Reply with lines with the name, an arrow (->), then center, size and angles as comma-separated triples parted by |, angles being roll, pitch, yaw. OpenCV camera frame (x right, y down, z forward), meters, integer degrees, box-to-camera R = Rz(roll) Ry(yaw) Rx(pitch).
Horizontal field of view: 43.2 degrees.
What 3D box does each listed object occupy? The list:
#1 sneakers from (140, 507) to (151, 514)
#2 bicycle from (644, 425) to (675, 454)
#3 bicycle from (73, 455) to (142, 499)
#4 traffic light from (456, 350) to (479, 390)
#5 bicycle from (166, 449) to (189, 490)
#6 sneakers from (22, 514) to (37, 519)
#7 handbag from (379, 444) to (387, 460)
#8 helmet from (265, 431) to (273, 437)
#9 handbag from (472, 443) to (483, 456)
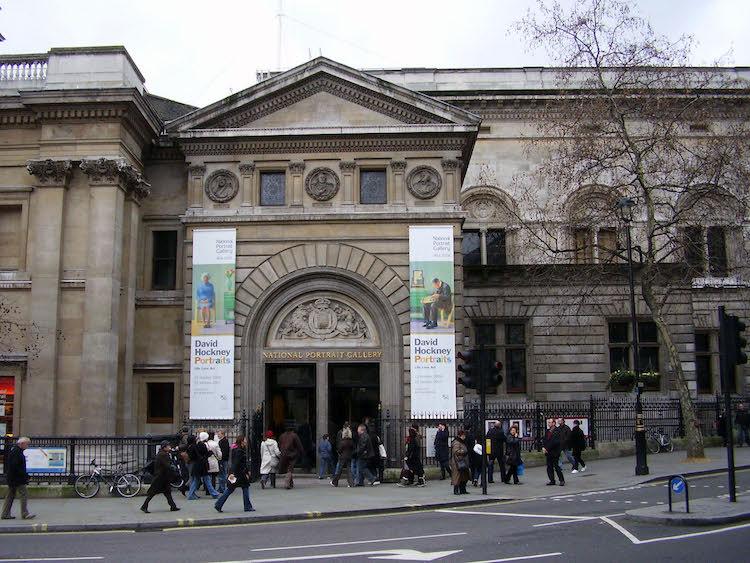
sneakers -> -7.256, 7.245, 30.005 | 0.349, 0.274, 0.127 | 0, -4, 1
bicycle -> 12.692, 7.116, 42.216 | 1.436, 1.007, 0.737 | 14, -39, -33
bicycle -> -9.512, 6.993, 33.965 | 2.135, 1.413, 1.204 | 0, -5, -6
traffic light -> 3.209, 2.999, 32.403 | 0.631, 1.297, 1.215 | -1, -11, 1
bicycle -> -6.951, 6.693, 33.646 | 0.563, 1.655, 1.136 | -10, 12, -8
sneakers -> -10.635, 7.230, 29.130 | 0.359, 0.299, 0.131 | -1, -4, -4
handbag -> 0.272, 6.453, 35.984 | 0.360, 0.528, 0.130 | 5, -10, -10
helmet -> -3.866, 5.550, 34.496 | 0.264, 0.254, 0.221 | -1, 18, -45
handbag -> 3.698, 6.009, 33.781 | 0.372, 0.443, 0.567 | -12, -22, 17
